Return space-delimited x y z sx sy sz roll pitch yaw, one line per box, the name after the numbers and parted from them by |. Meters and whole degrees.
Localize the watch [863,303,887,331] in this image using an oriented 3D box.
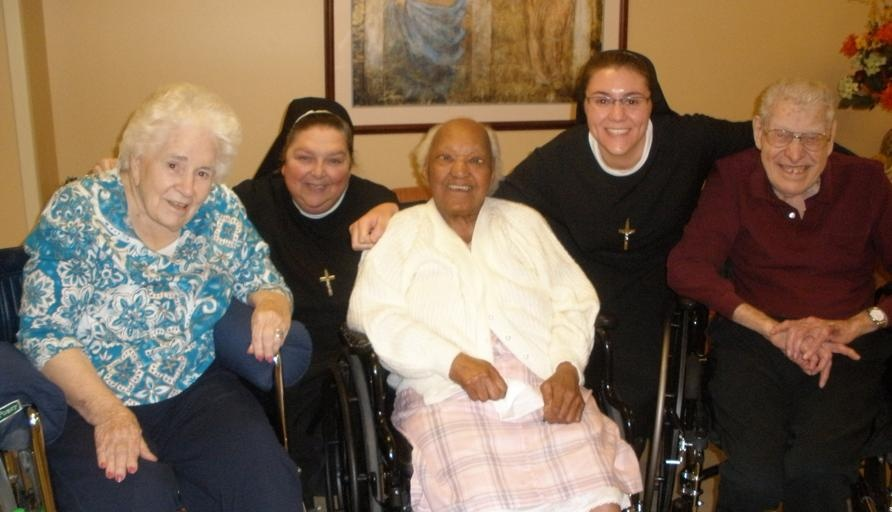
2.218 0.308 4.256 0.085 0.112 0.031 -11 -23 -3 | watch

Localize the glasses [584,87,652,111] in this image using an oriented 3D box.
0.951 -0.864 4.540 0.211 0.136 0.052 -2 28 13 | glasses

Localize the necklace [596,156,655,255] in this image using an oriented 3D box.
1.007 -0.307 4.638 0.260 0.506 0.190 -3 6 -12 | necklace
